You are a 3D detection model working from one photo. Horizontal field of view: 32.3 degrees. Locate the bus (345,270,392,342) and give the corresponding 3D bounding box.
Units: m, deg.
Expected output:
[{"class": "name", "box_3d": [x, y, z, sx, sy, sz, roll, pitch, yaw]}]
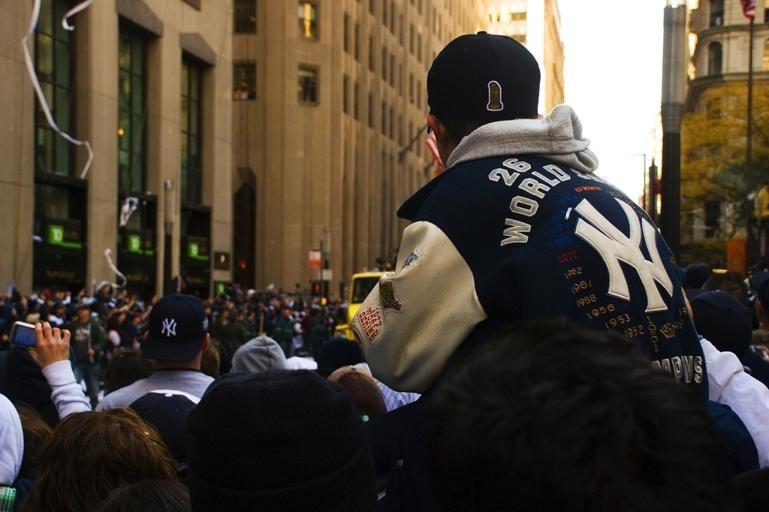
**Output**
[{"class": "bus", "box_3d": [-0.751, 1.617, 53.430, 1.860, 1.904, 3.257, 0, -7, 6]}]
